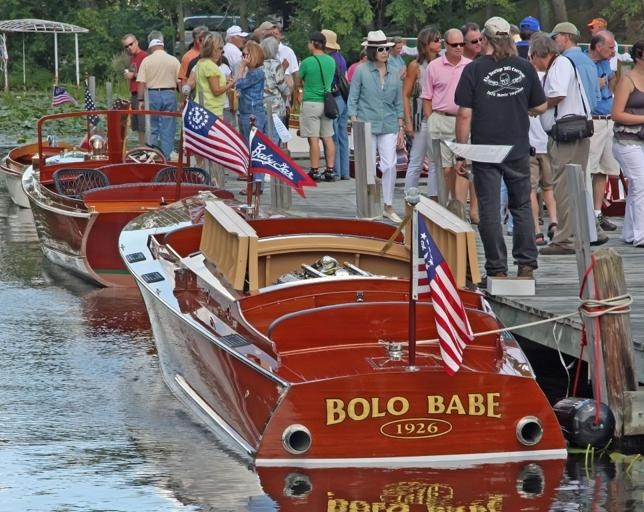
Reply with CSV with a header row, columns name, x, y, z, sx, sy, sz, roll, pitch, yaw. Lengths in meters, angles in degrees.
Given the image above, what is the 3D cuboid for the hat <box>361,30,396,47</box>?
name,x,y,z,sx,sy,sz,roll,pitch,yaw
hat,0.632,-2.424,19.633,0.369,0.143,0.387,-5,8,-10

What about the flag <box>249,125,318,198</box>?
name,x,y,z,sx,sy,sz,roll,pitch,yaw
flag,-0.386,-0.924,16.401,0.373,0.603,0.721,-13,14,-38

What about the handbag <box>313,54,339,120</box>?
name,x,y,z,sx,sy,sz,roll,pitch,yaw
handbag,0.065,-2.113,21.833,0.247,0.779,0.109,-4,12,-2

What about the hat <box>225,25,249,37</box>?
name,x,y,z,sx,sy,sz,roll,pitch,yaw
hat,-1.202,-3.113,24.274,0.290,0.195,0.403,-11,12,-42

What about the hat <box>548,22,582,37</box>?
name,x,y,z,sx,sy,sz,roll,pitch,yaw
hat,2.456,-2.318,17.759,0.339,0.163,0.242,14,12,16

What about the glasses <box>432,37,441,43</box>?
name,x,y,z,sx,sy,sz,roll,pitch,yaw
glasses,1.268,-2.364,19.080,0.061,0.058,0.019,3,-1,28

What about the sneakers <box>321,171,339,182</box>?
name,x,y,z,sx,sy,sz,roll,pitch,yaw
sneakers,0.128,-1.063,23.340,0.144,0.122,0.300,2,7,-5

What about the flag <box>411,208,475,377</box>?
name,x,y,z,sx,sy,sz,roll,pitch,yaw
flag,0.915,0.256,13.209,0.368,1.280,0.337,3,13,29

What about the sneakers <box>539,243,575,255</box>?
name,x,y,z,sx,sy,sz,roll,pitch,yaw
sneakers,2.392,-0.069,17.604,0.364,0.132,0.129,1,5,0

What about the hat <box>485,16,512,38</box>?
name,x,y,z,sx,sy,sz,roll,pitch,yaw
hat,1.583,-2.086,15.740,0.169,0.114,0.223,2,35,-5

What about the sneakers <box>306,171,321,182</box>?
name,x,y,z,sx,sy,sz,roll,pitch,yaw
sneakers,-0.083,-1.040,22.787,0.125,0.185,0.130,-12,23,-5

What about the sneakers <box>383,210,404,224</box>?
name,x,y,z,sx,sy,sz,roll,pitch,yaw
sneakers,0.821,-0.434,19.421,0.119,0.089,0.312,6,8,-29

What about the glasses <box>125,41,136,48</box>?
name,x,y,z,sx,sy,sz,roll,pitch,yaw
glasses,-2.778,-3.098,25.552,0.115,0.037,0.110,-21,47,9

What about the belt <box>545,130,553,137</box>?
name,x,y,z,sx,sy,sz,roll,pitch,yaw
belt,2.277,-1.219,17.325,0.053,0.055,0.056,2,0,32

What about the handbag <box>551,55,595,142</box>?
name,x,y,z,sx,sy,sz,roll,pitch,yaw
handbag,2.464,-1.533,17.159,0.420,0.847,0.355,-4,11,-3

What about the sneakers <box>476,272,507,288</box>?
name,x,y,z,sx,sy,sz,roll,pitch,yaw
sneakers,1.583,0.205,15.998,0.197,0.113,0.264,1,1,-2

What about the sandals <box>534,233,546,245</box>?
name,x,y,z,sx,sy,sz,roll,pitch,yaw
sandals,2.271,-0.176,18.018,0.108,0.064,0.185,3,8,5
